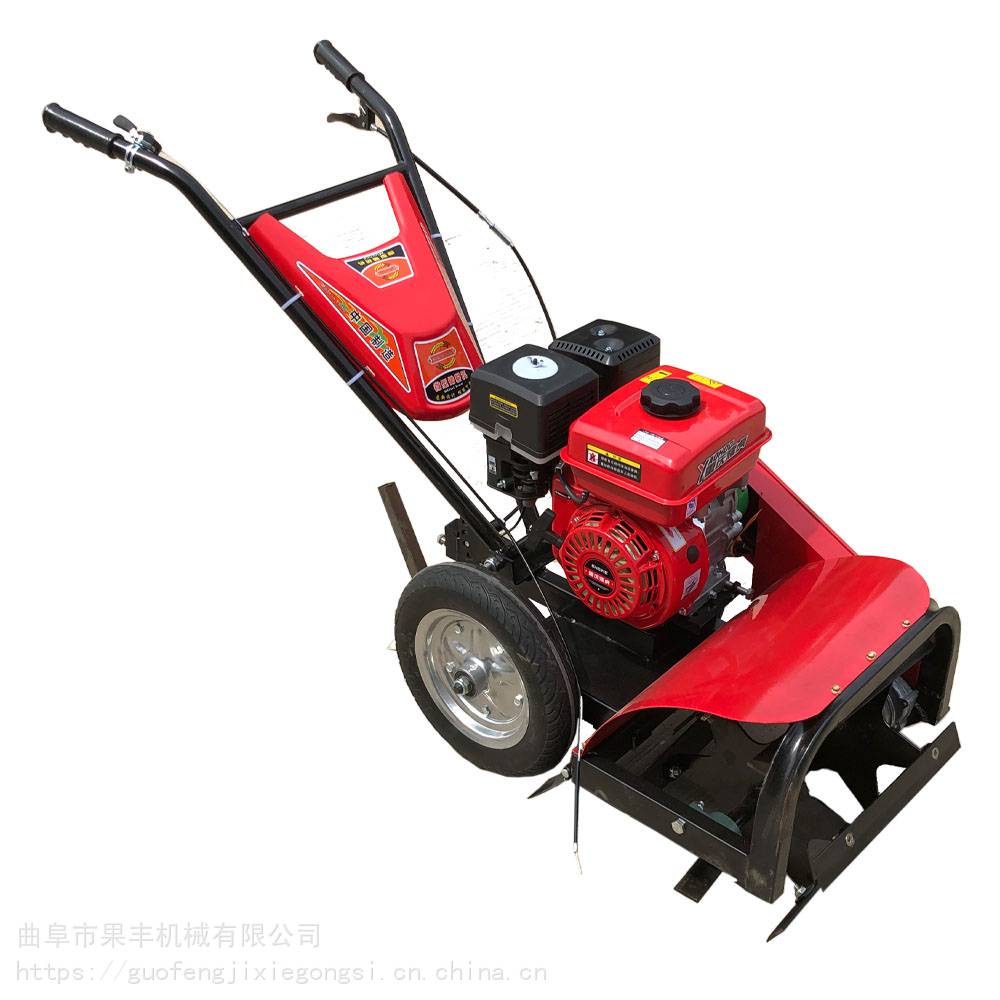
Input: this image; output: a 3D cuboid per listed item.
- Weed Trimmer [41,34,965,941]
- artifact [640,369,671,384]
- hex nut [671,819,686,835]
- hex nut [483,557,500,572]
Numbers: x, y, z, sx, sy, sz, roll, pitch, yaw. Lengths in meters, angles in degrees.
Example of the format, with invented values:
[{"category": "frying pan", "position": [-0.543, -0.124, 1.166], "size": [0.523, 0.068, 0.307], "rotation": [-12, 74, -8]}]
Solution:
[{"category": "Weed Trimmer", "position": [0.336, -0.107, 3.603], "size": [2.503, 2.570, 1.022], "rotation": [11, 3, 19]}, {"category": "artifact", "position": [0.495, -0.405, 3.512], "size": [0.058, 0.013, 0.091], "rotation": [9, 27, 33]}, {"category": "hex nut", "position": [0.532, 0.979, 3.274], "size": [0.033, 0.048, 0.049], "rotation": [10, 3, -11]}, {"category": "hex nut", "position": [-0.034, 0.218, 3.873], "size": [0.065, 0.052, 0.046], "rotation": [6, -38, 5]}]
